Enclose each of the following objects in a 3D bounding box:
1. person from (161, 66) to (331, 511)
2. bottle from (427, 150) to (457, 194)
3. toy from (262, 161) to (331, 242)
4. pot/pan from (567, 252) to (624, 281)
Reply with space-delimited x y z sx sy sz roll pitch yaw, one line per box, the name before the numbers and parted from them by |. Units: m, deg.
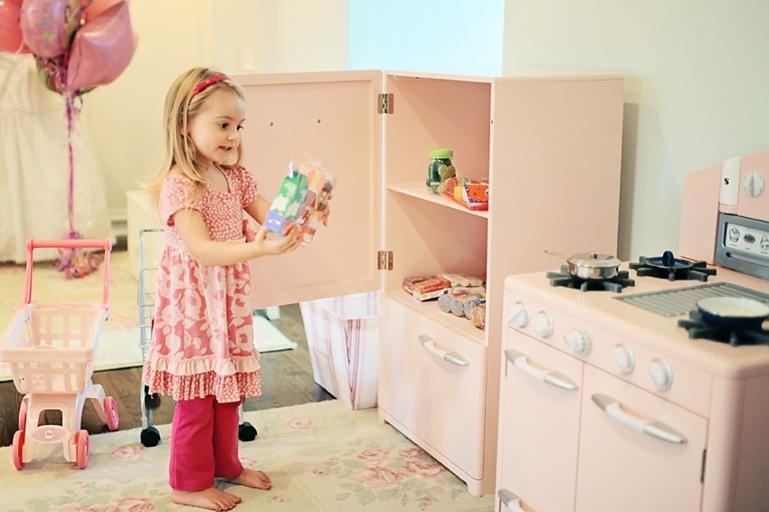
person | -0.531 0.120 2.160 0.601 1.522 0.371 1 9 22
bottle | 0.219 -0.333 2.360 0.099 0.164 0.141 -4 8 -10
toy | -0.262 -0.168 1.897 0.221 0.248 0.097 -8 10 -35
pot/pan | 0.609 0.027 1.776 0.124 0.066 0.130 -9 10 -39
